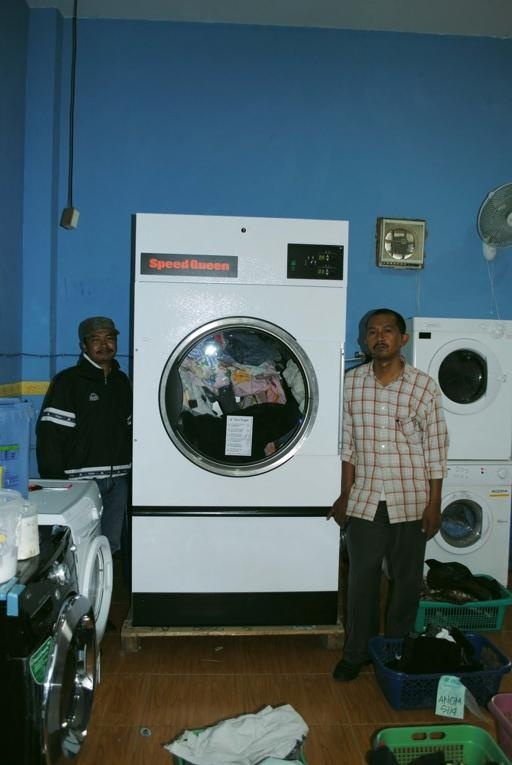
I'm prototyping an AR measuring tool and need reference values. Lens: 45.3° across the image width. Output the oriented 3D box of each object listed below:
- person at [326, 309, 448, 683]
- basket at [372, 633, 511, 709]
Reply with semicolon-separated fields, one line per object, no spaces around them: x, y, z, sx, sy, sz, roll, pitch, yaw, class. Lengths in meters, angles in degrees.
0.482;0.408;2.272;0.427;1.358;0.252;2;3;18;person
0.644;1.013;2.127;0.355;0.130;0.243;-2;1;-10;basket
